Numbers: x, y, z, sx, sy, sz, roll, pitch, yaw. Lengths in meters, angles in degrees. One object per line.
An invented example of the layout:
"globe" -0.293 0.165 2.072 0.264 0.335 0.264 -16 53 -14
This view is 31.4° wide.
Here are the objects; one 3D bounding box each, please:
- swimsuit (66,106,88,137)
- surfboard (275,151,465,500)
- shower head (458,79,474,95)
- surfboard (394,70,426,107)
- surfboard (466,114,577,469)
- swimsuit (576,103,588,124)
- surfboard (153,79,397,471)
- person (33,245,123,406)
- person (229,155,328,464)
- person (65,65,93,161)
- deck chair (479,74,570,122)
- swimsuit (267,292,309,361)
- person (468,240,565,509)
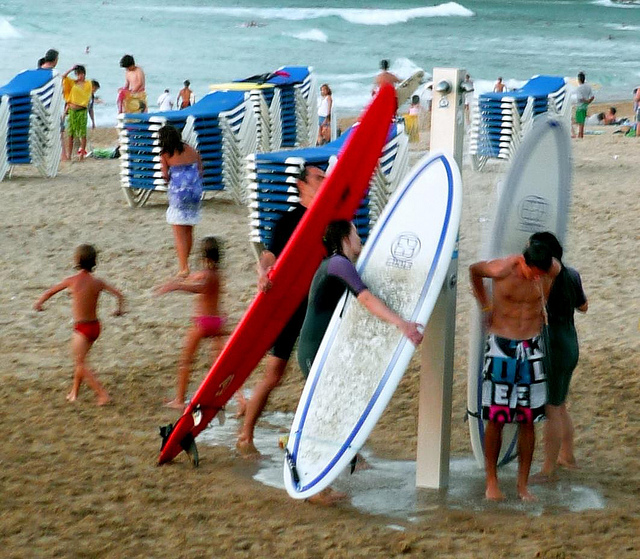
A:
"swimsuit" -3.466 -2.334 16.202 0.385 0.537 0.316 1 38 -13
"surfboard" 0.407 0.225 7.730 0.691 0.364 2.866 5 51 29
"shower head" 0.963 -1.302 7.609 0.025 0.099 0.157 8 13 36
"surfboard" 0.653 -1.451 8.529 0.211 0.271 0.683 1 11 4
"surfboard" 1.601 -0.106 8.800 0.684 3.075 0.222 4 45 9
"swimsuit" 4.371 -2.828 19.174 0.139 0.341 0.405 4 11 18
"surfboard" -0.447 -0.006 9.442 0.440 4.052 0.535 24 11 -10
"person" -1.900 0.348 9.014 0.667 1.232 0.438 -1 10 -8
"person" -0.308 0.261 8.760 0.335 2.687 0.287 22 -4 -18
"person" -3.480 -2.411 16.307 0.408 1.368 2.068 -2 11 -11
"deck chair" 2.965 -2.689 16.120 0.677 0.760 1.811 16 28 30
"swimsuit" -0.235 0.352 8.231 0.285 0.489 0.259 -8 26 -45
"person" 1.293 0.590 7.753 0.599 1.772 0.590 3 10 13
